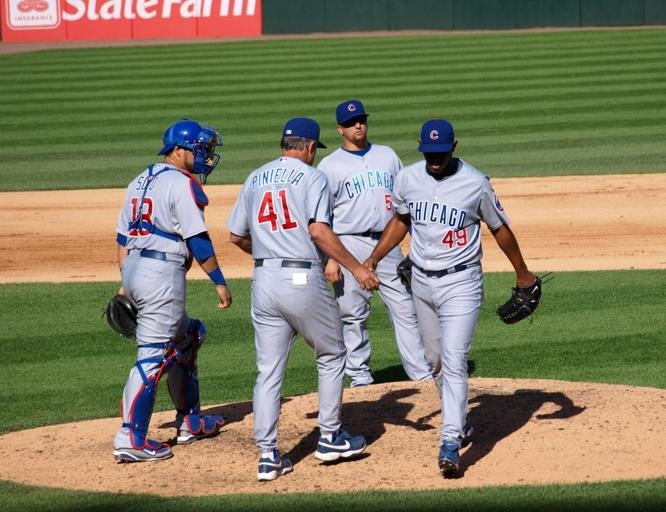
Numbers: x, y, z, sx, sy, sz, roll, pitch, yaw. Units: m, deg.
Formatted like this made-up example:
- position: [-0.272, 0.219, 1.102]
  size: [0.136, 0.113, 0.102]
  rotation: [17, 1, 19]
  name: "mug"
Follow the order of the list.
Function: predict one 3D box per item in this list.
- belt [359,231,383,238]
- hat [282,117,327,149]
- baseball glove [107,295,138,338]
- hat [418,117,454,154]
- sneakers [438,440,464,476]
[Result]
- position: [0.535, -0.319, 19.353]
  size: [0.147, 0.061, 0.173]
  rotation: [-5, -8, 32]
  name: "belt"
- position: [-0.372, -1.649, 18.151]
  size: [0.517, 0.281, 0.351]
  rotation: [-3, 14, -42]
  name: "hat"
- position: [-2.816, 0.803, 18.408]
  size: [0.406, 0.532, 0.192]
  rotation: [-35, 1, 14]
  name: "baseball glove"
- position: [1.345, -1.563, 17.839]
  size: [0.473, 0.419, 0.261]
  rotation: [-1, 12, 3]
  name: "hat"
- position: [1.484, 2.579, 17.650]
  size: [0.212, 0.544, 0.263]
  rotation: [-1, 44, 7]
  name: "sneakers"
